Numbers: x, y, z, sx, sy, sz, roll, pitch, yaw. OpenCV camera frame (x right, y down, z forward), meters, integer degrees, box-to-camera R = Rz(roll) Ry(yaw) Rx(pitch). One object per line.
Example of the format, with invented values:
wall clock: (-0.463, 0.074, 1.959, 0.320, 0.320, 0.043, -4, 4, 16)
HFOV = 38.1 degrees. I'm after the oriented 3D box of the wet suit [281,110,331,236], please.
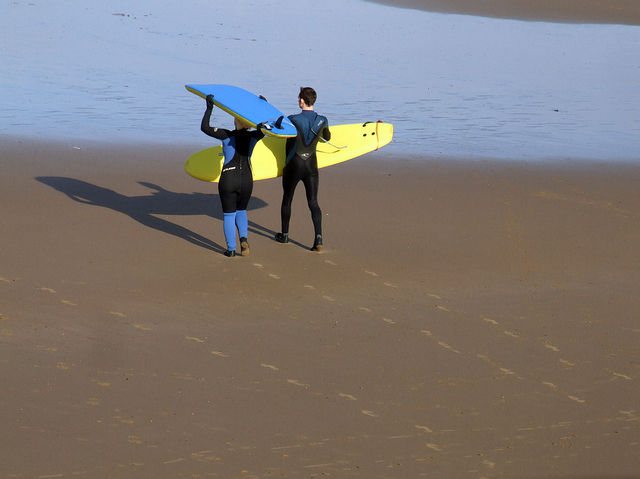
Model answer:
wet suit: (-0.191, -0.852, 11.958, 0.572, 1.661, 0.299, 3, 18, -1)
